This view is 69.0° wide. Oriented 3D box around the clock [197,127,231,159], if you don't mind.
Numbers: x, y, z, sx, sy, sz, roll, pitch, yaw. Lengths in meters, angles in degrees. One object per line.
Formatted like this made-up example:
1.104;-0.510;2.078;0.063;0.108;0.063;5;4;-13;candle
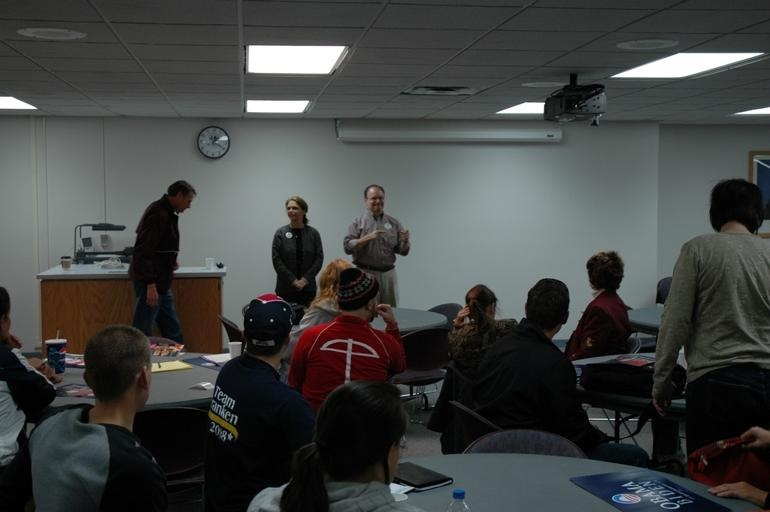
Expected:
-2.418;-1.588;7.843;0.454;0.437;0.060;1;-1;-7;clock

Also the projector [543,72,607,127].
1.986;-1.653;5.844;0.644;0.461;0.457;3;17;19;projector

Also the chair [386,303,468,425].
0.296;1.102;5.384;0.630;0.829;0.700;-1;2;41;chair

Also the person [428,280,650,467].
0.801;0.728;3.266;1.204;1.168;0.730;3;4;32;person

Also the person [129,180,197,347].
-2.387;0.071;5.981;0.612;1.743;0.391;-3;5;-42;person
